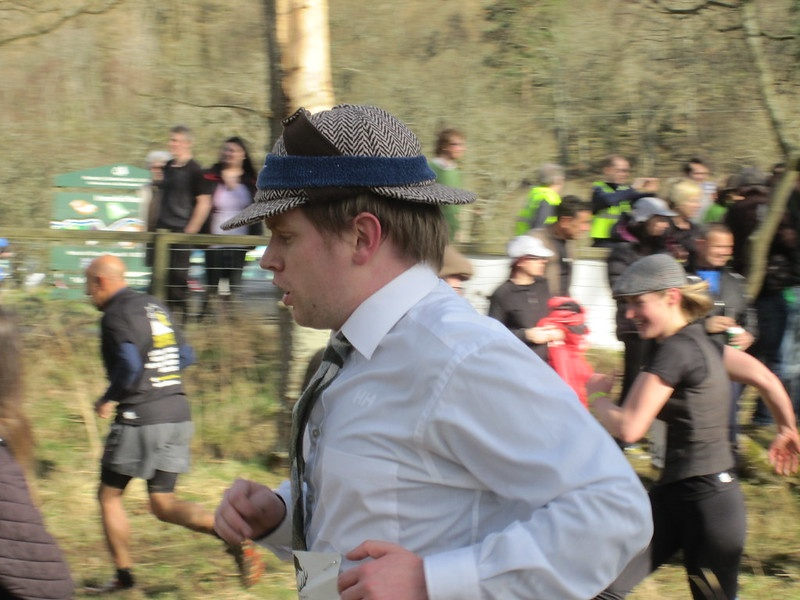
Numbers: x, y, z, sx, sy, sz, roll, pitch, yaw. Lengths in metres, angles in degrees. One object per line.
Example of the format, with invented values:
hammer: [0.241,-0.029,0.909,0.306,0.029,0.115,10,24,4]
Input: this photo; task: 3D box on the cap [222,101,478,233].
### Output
cap: [-0.245,-0.689,5.871,1.115,0.341,0.632,-2,3,4]

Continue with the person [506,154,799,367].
person: [2.769,-0.387,10.313,1.708,1.553,0.719,5,8,11]
